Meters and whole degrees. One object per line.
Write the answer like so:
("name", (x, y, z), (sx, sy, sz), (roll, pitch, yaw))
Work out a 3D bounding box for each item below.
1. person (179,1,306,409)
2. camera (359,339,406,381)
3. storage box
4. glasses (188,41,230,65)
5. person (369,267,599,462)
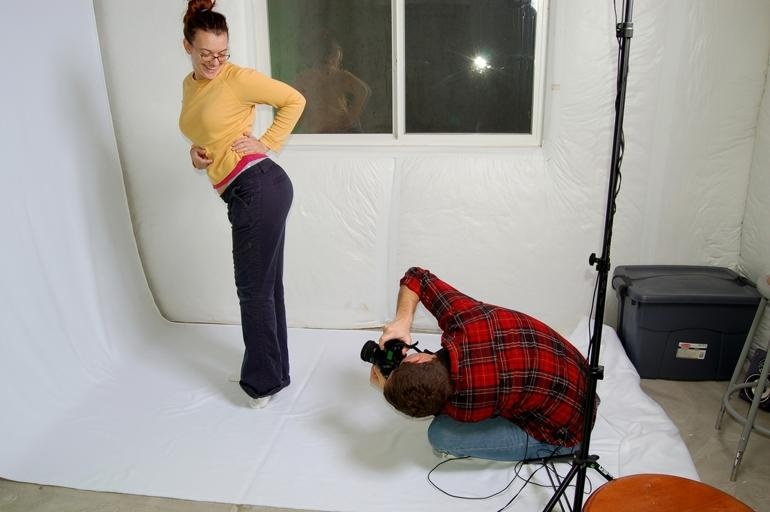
("person", (-0.803, -0.266, 2.975), (0.544, 2.220, 0.532), (9, 21, 25))
("camera", (-0.012, 0.475, 2.540), (0.229, 0.131, 0.203), (10, -16, -14))
("storage box", (2.010, 0.449, 3.505), (0.820, 0.609, 0.706), (0, 17, 13))
("glasses", (-0.893, -1.044, 2.659), (0.172, 0.076, 0.075), (-9, 21, -25))
("person", (0.521, 0.559, 2.524), (0.988, 0.832, 1.223), (9, 6, 22))
